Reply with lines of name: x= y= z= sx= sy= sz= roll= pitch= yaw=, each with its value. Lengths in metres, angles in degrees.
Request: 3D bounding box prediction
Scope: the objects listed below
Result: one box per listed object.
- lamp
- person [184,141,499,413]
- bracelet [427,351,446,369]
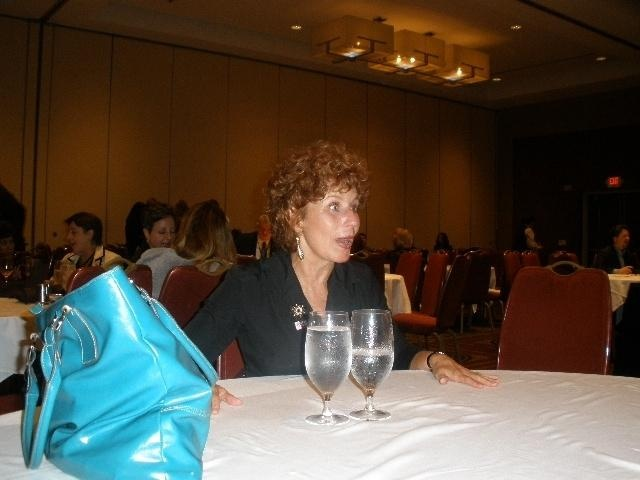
lamp: x=1.298 y=-3.068 z=8.229 sx=2.881 sy=0.873 sz=0.705 roll=0 pitch=2 yaw=-33
person: x=0.005 y=0.203 z=1.674 sx=1.001 sy=0.996 sz=0.532 roll=5 pitch=1 yaw=-30
bracelet: x=0.330 y=0.334 z=1.532 sx=0.014 sy=0.055 sz=0.054 roll=14 pitch=-13 yaw=41
